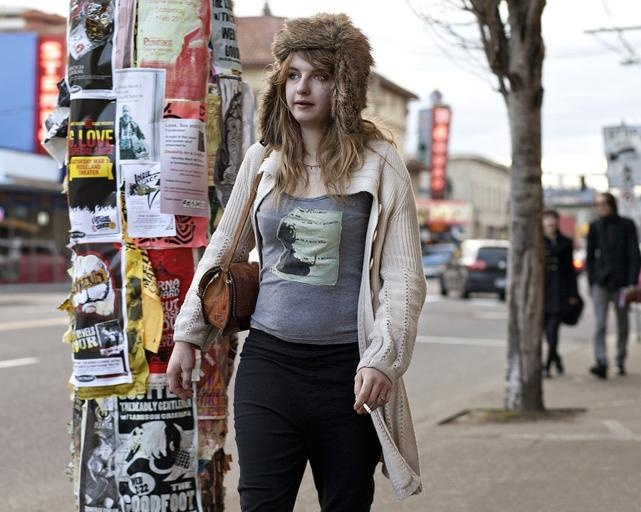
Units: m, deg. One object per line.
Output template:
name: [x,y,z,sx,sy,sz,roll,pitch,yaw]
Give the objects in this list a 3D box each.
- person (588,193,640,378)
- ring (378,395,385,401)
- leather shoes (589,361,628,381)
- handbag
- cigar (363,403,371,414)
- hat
person: [1.483,0.147,5.185,0.259,0.924,0.098,-1,1,18]
ring: [0.239,0.550,3.986,0.033,0.024,0.005,-2,1,-23]
leather shoes: [1.447,0.570,5.157,0.180,0.126,0.062,4,-9,12]
handbag: [-0.382,0.158,4.415,0.183,0.268,0.377,8,3,11]
cigar: [0.179,0.585,3.967,0.008,0.031,0.031,-31,14,-24]
hat: [-0.008,-0.742,4.396,0.435,0.538,0.406,1,-3,29]
